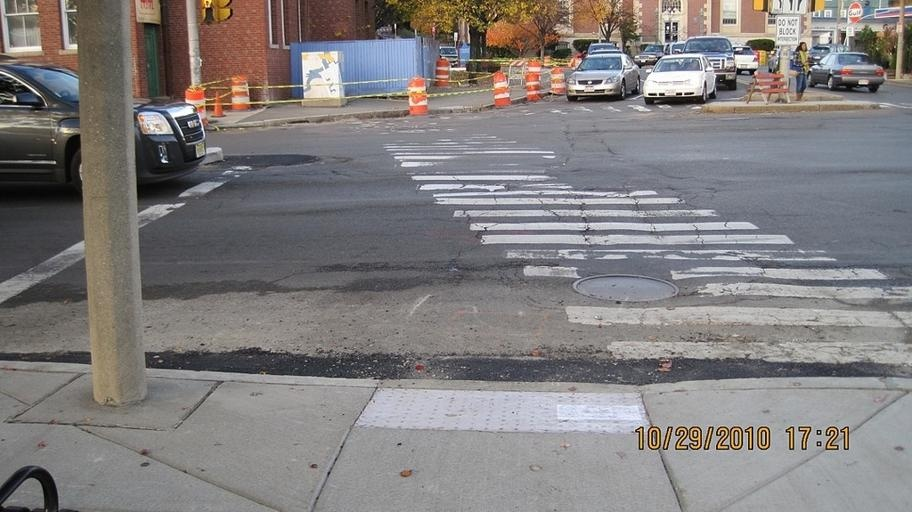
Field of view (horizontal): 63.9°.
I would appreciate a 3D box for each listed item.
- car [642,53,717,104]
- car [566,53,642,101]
[{"bbox_3d":[8.829,-6.991,28.873,2.205,1.814,2.596,7,20,22],"label":"car"},{"bbox_3d":[6.435,-7.865,31.977,2.102,1.922,3.358,10,21,27],"label":"car"}]
